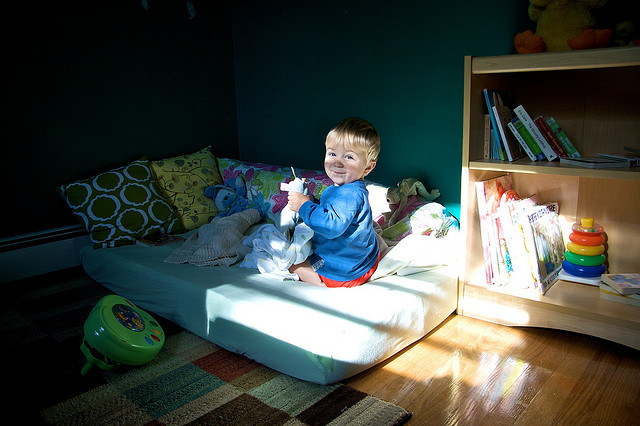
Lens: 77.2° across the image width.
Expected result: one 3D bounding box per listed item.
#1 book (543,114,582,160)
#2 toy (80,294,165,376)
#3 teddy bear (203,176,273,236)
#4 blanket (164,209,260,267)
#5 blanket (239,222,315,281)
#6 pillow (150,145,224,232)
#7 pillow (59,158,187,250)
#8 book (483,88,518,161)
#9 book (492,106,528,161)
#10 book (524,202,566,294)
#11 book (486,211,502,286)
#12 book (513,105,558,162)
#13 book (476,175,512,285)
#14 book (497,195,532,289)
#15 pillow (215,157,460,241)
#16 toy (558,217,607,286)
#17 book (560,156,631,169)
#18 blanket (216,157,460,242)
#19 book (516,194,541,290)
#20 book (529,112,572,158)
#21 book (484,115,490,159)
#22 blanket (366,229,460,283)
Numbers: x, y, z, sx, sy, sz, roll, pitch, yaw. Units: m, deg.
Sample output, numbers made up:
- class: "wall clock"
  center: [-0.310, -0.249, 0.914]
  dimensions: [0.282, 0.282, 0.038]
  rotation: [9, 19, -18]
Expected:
- class: "book"
  center: [1.240, -0.377, 2.056]
  dimensions: [0.050, 0.209, 0.221]
  rotation: [-35, -32, 21]
- class: "toy"
  center: [-0.856, 0.525, 1.732]
  dimensions: [0.239, 0.306, 0.332]
  rotation: [10, 19, 43]
- class: "teddy bear"
  center: [-0.514, -0.038, 2.567]
  dimensions: [0.245, 0.268, 0.193]
  rotation: [-46, -16, -11]
- class: "blanket"
  center: [-0.603, 0.136, 2.398]
  dimensions: [0.528, 0.138, 0.731]
  rotation: [-28, 21, -35]
- class: "blanket"
  center: [-0.211, 0.189, 1.991]
  dimensions: [0.305, 0.293, 0.101]
  rotation: [9, -22, 19]
- class: "pillow"
  center: [-0.880, -0.191, 2.825]
  dimensions: [0.500, 0.472, 0.155]
  rotation: [-8, 18, 16]
- class: "pillow"
  center: [-1.254, -0.067, 2.566]
  dimensions: [0.634, 0.476, 0.340]
  rotation: [-13, 17, -35]
- class: "book"
  center: [0.905, -0.433, 2.025]
  dimensions: [0.047, 0.348, 0.315]
  rotation: [-17, 9, 32]
- class: "book"
  center: [0.948, -0.409, 2.026]
  dimensions: [0.062, 0.265, 0.261]
  rotation: [-22, 34, 22]
- class: "book"
  center: [1.188, 0.163, 2.132]
  dimensions: [0.092, 0.398, 0.459]
  rotation: [-7, 4, 45]
- class: "book"
  center: [0.889, 0.192, 2.076]
  dimensions: [0.145, 0.381, 0.018]
  rotation: [-11, 10, -26]
- class: "book"
  center: [1.075, -0.378, 2.016]
  dimensions: [0.059, 0.243, 0.257]
  rotation: [-39, -41, 18]
- class: "book"
  center: [0.903, 0.095, 2.084]
  dimensions: [0.050, 0.613, 0.558]
  rotation: [-5, 2, 35]
- class: "book"
  center: [1.003, 0.163, 2.061]
  dimensions: [0.083, 0.335, 0.342]
  rotation: [-12, 6, 23]
- class: "pillow"
  center: [-0.061, -0.088, 2.700]
  dimensions: [1.835, 0.460, 0.397]
  rotation: [11, 10, 32]
- class: "toy"
  center: [1.380, 0.186, 2.085]
  dimensions: [0.186, 0.339, 0.187]
  rotation: [9, 19, 41]
- class: "book"
  center: [1.257, -0.231, 1.847]
  dimensions: [0.168, 0.043, 0.261]
  rotation: [-16, 18, -42]
- class: "blanket"
  center: [0.119, -0.086, 2.265]
  dimensions: [1.441, 0.491, 0.341]
  rotation: [13, 23, 21]
- class: "book"
  center: [1.048, 0.169, 2.019]
  dimensions: [0.065, 0.434, 0.393]
  rotation: [-12, 6, 27]
- class: "book"
  center: [1.168, -0.360, 2.026]
  dimensions: [0.052, 0.225, 0.217]
  rotation: [-40, 37, 17]
- class: "book"
  center: [0.853, -0.390, 2.044]
  dimensions: [0.028, 0.215, 0.013]
  rotation: [1, 16, 20]
- class: "blanket"
  center: [0.506, 0.237, 2.040]
  dimensions: [0.355, 0.103, 0.267]
  rotation: [-9, 14, 14]
